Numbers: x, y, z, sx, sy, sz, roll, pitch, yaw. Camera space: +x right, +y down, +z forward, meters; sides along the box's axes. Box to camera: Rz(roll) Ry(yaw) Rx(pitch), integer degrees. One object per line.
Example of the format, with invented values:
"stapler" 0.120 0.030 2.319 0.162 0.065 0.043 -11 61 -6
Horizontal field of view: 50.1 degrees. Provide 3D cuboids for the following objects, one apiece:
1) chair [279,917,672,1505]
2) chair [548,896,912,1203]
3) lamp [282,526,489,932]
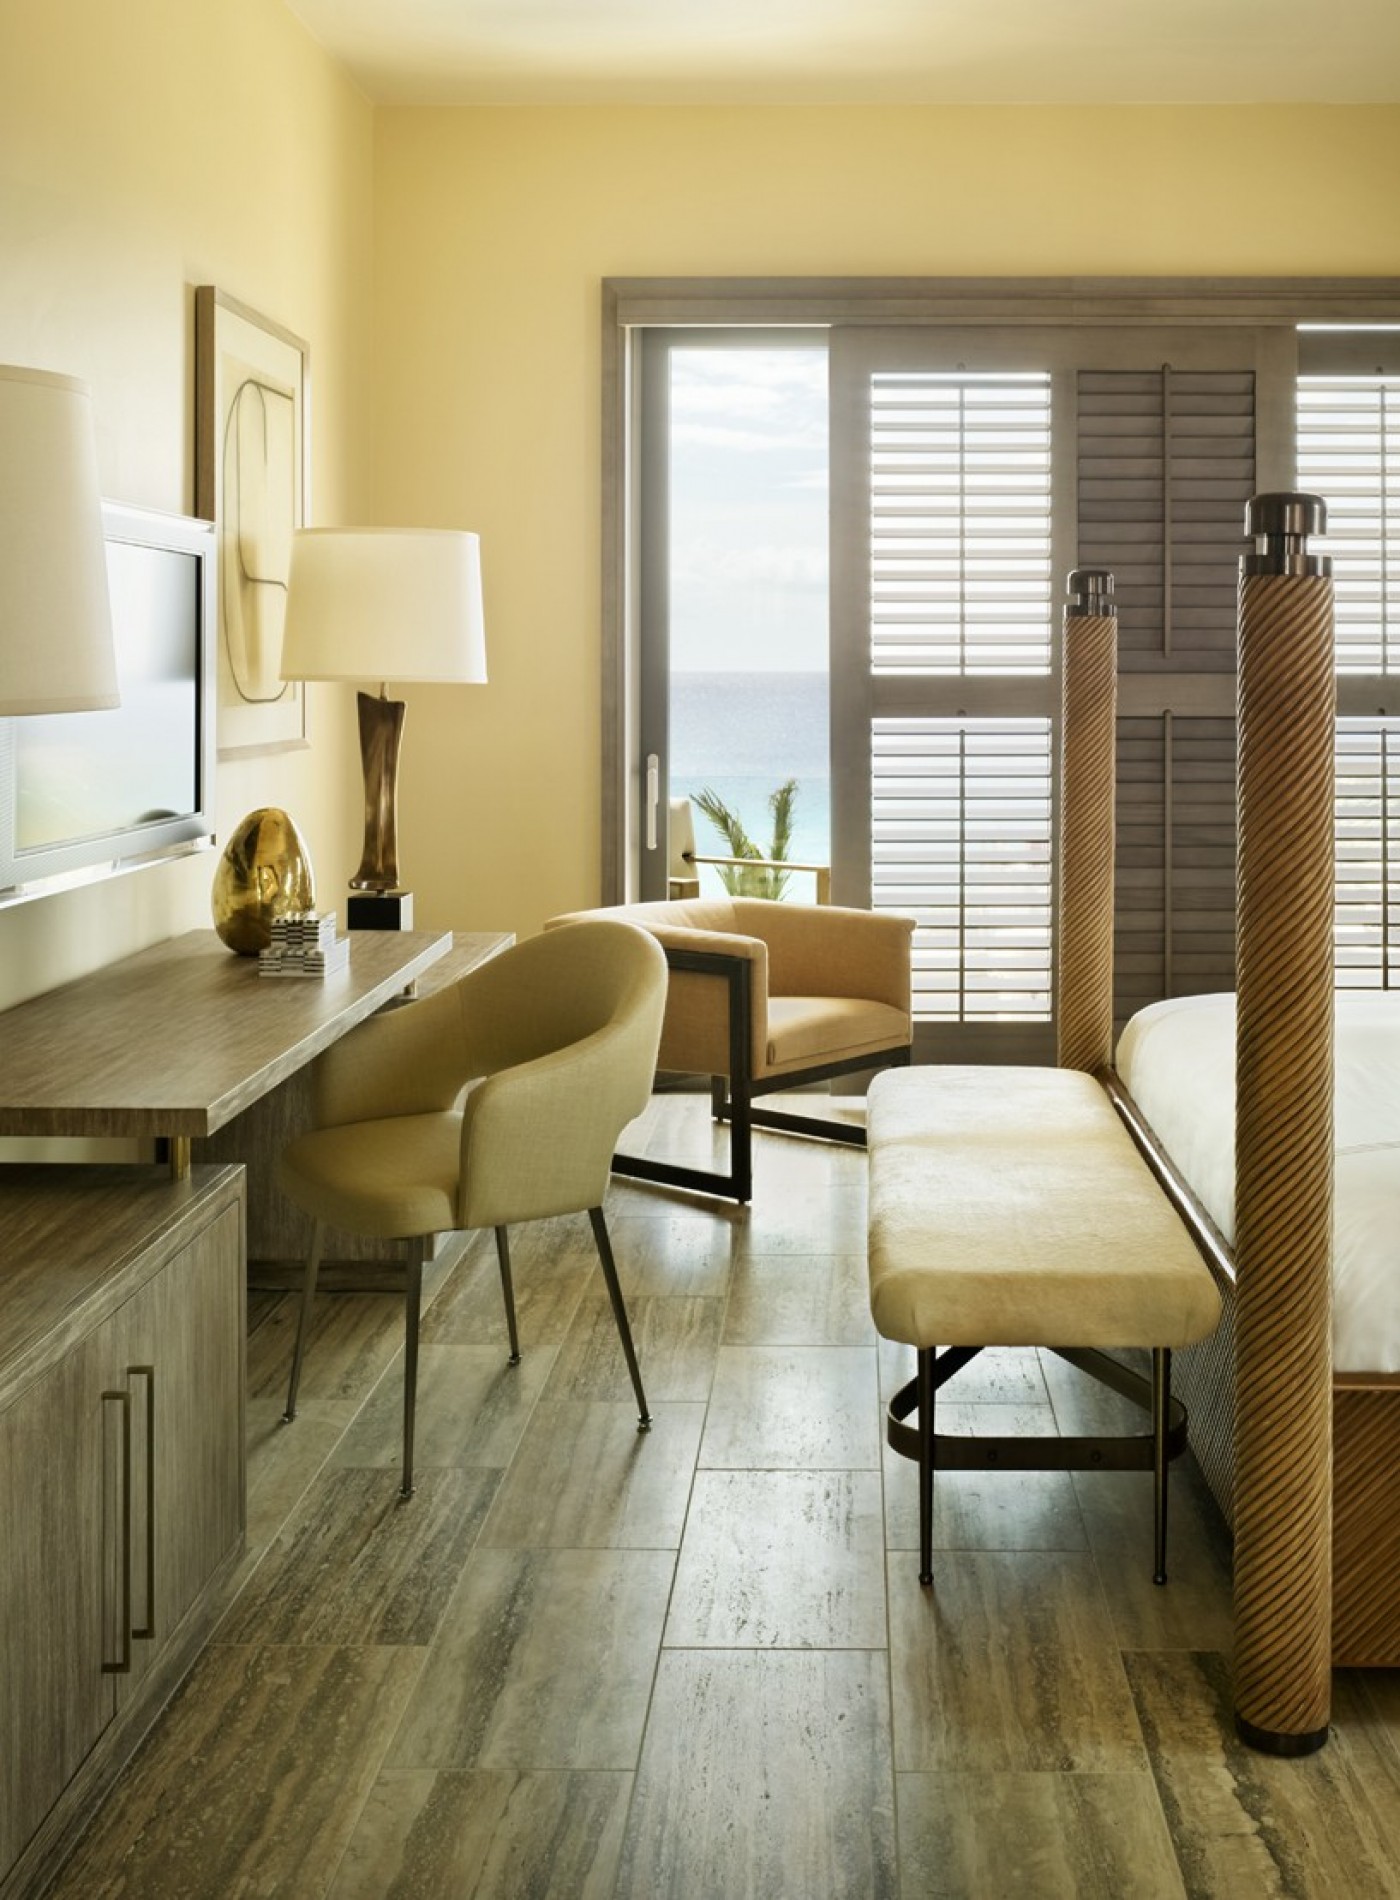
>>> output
"chair" -0.379 0.275 2.438 0.661 1.055 0.702 2 2 -34
"chair" 0.064 0.119 3.685 0.656 0.786 0.768 2 5 36
"lamp" -0.716 -0.461 3.283 0.420 0.825 0.834 -1 2 -21
